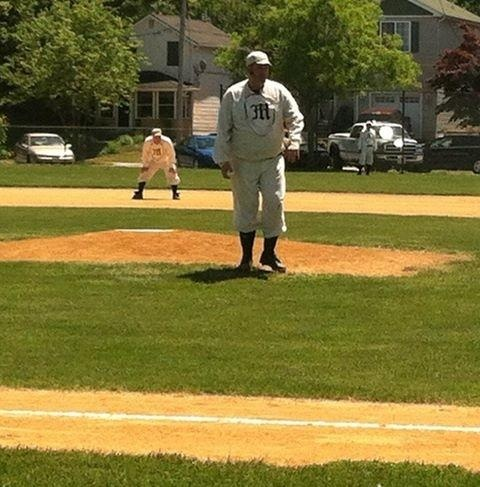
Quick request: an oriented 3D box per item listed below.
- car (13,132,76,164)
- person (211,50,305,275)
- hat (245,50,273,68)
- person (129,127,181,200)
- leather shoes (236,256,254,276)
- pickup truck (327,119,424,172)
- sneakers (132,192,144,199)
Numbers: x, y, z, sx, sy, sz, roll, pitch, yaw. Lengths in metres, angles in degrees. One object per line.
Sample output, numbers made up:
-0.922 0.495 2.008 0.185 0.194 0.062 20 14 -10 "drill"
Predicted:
-6.246 -2.895 47.878 1.392 0.939 2.224 -7 18 -24 "car"
0.191 -0.993 19.250 1.095 2.921 0.606 0 14 1 "person"
0.154 -2.367 19.012 0.219 0.185 0.313 -1 0 -25 "hat"
-1.700 -1.602 29.716 0.886 1.476 0.735 2 25 2 "person"
0.031 0.314 19.636 0.225 0.272 0.154 1 -3 8 "leather shoes"
3.727 -2.760 43.041 1.285 1.138 2.482 -1 3 -22 "pickup truck"
-2.112 -0.964 30.344 0.112 0.133 0.165 -7 0 1 "sneakers"
